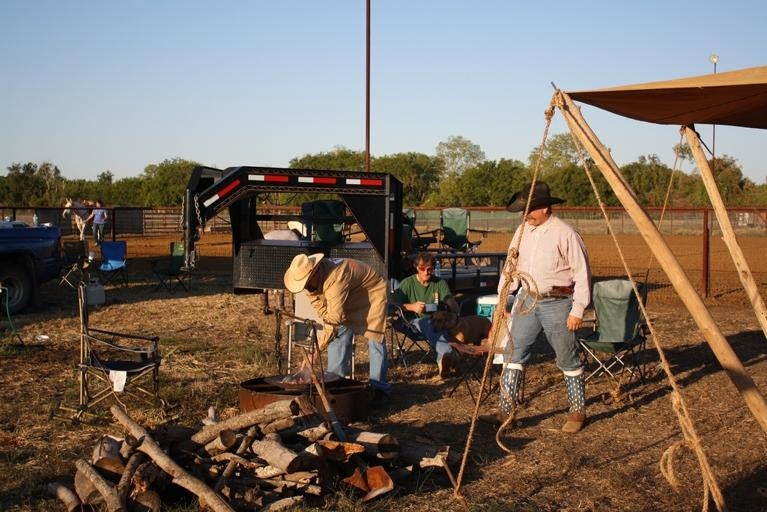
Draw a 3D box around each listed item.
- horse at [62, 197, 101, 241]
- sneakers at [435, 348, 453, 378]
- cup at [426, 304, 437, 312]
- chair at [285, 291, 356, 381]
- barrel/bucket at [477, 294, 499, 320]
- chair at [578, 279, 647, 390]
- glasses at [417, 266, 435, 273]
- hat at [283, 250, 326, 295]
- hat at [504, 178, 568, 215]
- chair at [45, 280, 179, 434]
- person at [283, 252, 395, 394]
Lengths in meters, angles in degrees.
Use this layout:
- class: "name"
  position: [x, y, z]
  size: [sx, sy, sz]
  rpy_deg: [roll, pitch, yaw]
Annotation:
- class: "horse"
  position: [-11.808, -1.315, 24.552]
  size: [0.583, 1.510, 2.193]
  rpy_deg: [0, -1, 23]
- class: "sneakers"
  position: [0.819, 1.442, 8.341]
  size: [0.148, 0.445, 0.188]
  rpy_deg: [3, 1, -21]
- class: "cup"
  position: [0.648, 0.696, 8.327]
  size: [0.110, 0.085, 0.116]
  rpy_deg: [-1, 0, 0]
- class: "chair"
  position: [-0.990, 1.004, 7.662]
  size: [0.627, 0.791, 0.608]
  rpy_deg: [13, -4, 30]
- class: "barrel/bucket"
  position: [1.501, 0.722, 9.011]
  size: [0.410, 0.388, 0.398]
  rpy_deg: [1, 5, 0]
- class: "chair"
  position: [2.716, 0.933, 7.305]
  size: [0.746, 1.225, 0.861]
  rpy_deg: [0, 4, 24]
- class: "glasses"
  position: [0.587, 0.185, 8.358]
  size: [0.257, 0.107, 0.209]
  rpy_deg: [-3, 5, -15]
- class: "hat"
  position: [-0.836, 0.185, 6.425]
  size: [0.374, 0.394, 0.317]
  rpy_deg: [-2, 5, -2]
- class: "hat"
  position: [1.698, -0.640, 6.808]
  size: [0.569, 0.242, 0.478]
  rpy_deg: [-3, -1, -40]
- class: "chair"
  position: [-3.143, 1.079, 7.288]
  size: [1.342, 1.441, 0.911]
  rpy_deg: [1, 1, -13]
- class: "person"
  position: [-0.454, 0.826, 6.919]
  size: [0.701, 1.770, 1.561]
  rpy_deg: [1, 5, 25]
